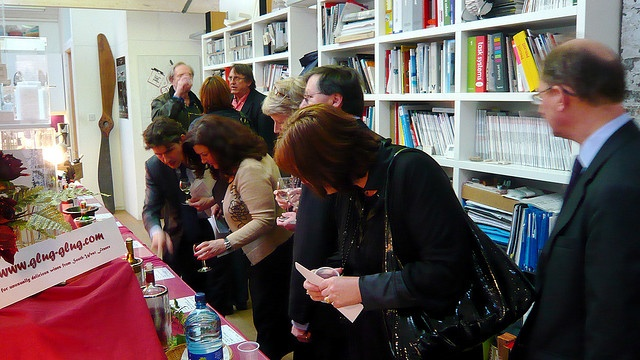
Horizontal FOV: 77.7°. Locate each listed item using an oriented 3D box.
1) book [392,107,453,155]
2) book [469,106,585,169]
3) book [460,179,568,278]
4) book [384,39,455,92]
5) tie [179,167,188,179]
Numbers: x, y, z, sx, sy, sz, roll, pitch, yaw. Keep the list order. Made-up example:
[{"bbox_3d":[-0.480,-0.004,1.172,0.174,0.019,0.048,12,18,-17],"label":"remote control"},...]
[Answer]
[{"bbox_3d":[0.828,-0.389,3.126,0.171,0.446,0.517,-5,4,-33],"label":"book"},{"bbox_3d":[1.347,-0.263,2.581,0.185,0.232,0.507,0,6,-39],"label":"book"},{"bbox_3d":[1.313,0.288,2.853,0.528,0.219,0.696,-5,11,-31],"label":"book"},{"bbox_3d":[0.834,-0.934,3.240,0.286,0.355,0.511,-4,7,-39],"label":"book"},{"bbox_3d":[-1.047,-0.055,3.076,0.063,0.076,0.029,-3,-1,-17],"label":"tie"}]
